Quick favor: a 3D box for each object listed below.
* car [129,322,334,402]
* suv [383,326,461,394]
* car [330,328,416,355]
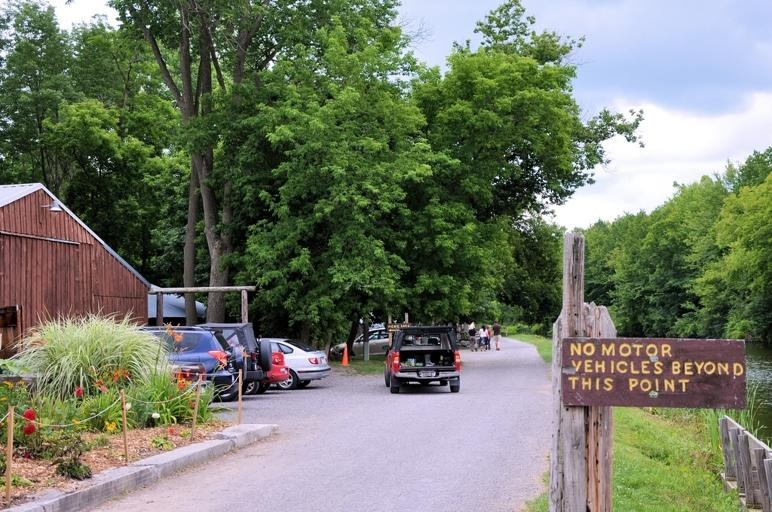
[{"bbox_3d":[-6.165,3.486,28.502,5.471,1.848,2.554,-1,-4,1],"label":"car"},{"bbox_3d":[1.338,3.746,31.981,2.472,2.400,2.986,1,-5,-3],"label":"suv"},{"bbox_3d":[-1.523,5.094,53.034,3.980,1.497,1.842,1,-5,-16],"label":"car"}]
